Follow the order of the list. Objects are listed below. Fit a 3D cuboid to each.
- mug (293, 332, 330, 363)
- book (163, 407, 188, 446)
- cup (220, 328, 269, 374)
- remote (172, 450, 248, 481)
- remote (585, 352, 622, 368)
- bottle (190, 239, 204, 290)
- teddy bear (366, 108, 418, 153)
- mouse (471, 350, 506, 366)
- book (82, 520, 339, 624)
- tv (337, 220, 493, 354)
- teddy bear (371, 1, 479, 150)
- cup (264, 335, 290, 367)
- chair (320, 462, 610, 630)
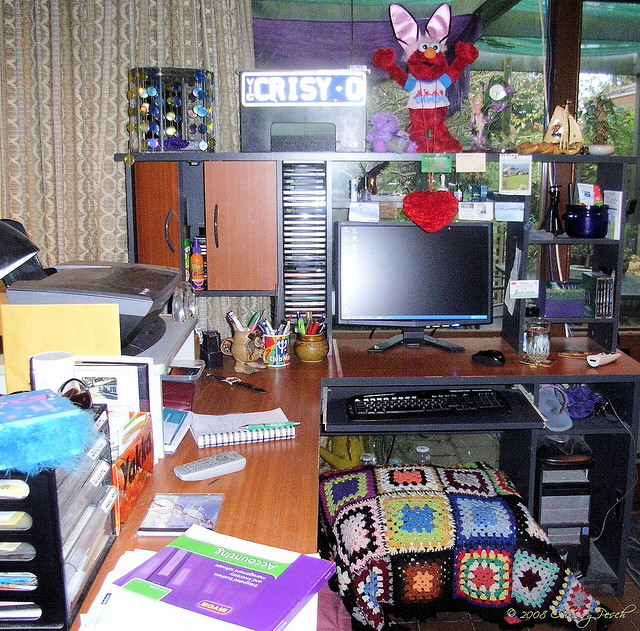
[{"bbox_3d":[-0.028,0.118,2.154,0.114,0.086,0.111,1,7,5],"label":"mug"},{"bbox_3d":[-0.384,0.290,1.492,0.046,0.008,0.121,1,17,-6],"label":"book"},{"bbox_3d":[-0.271,0.118,2.065,0.162,0.146,0.123,7,14,32],"label":"cup"},{"bbox_3d":[-0.248,0.337,1.295,0.133,0.029,0.062,-4,9,-23],"label":"remote"},{"bbox_3d":[1.029,0.152,2.053,0.169,0.042,0.047,-4,6,-32],"label":"remote"},{"bbox_3d":[-0.479,-0.199,2.208,0.059,0.189,0.055,-2,13,0],"label":"bottle"},{"bbox_3d":[0.269,-0.680,2.116,0.191,0.154,0.133,0,13,5],"label":"teddy bear"},{"bbox_3d":[0.627,0.147,2.077,0.054,0.030,0.091,-8,15,-45],"label":"mouse"},{"bbox_3d":[-0.169,0.415,0.877,0.298,0.031,0.270,4,13,24],"label":"book"},{"bbox_3d":[0.363,-0.118,2.208,0.603,0.475,0.179,-1,6,-5],"label":"tv"},{"bbox_3d":[0.349,-0.917,2.315,0.357,0.511,0.603,-4,13,-8],"label":"teddy bear"},{"bbox_3d":[-0.149,0.127,2.124,0.109,0.108,0.105,0,7,0],"label":"cup"},{"bbox_3d":[0.405,0.739,1.739,0.781,0.462,0.399,-2,13,-2],"label":"chair"}]
